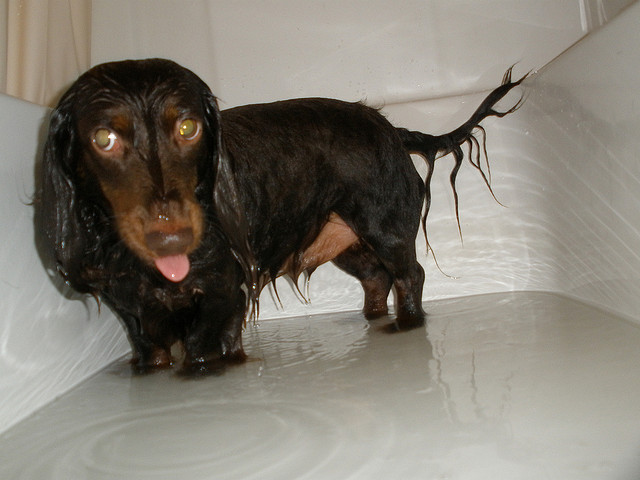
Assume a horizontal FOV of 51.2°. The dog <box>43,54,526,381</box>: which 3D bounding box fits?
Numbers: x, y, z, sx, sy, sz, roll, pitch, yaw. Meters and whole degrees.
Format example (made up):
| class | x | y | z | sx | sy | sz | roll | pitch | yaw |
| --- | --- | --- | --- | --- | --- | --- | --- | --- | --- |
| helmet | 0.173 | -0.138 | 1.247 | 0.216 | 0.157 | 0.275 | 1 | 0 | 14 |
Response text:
| class | x | y | z | sx | sy | sz | roll | pitch | yaw |
| --- | --- | --- | --- | --- | --- | --- | --- | --- | --- |
| dog | -0.006 | -0.165 | 2.411 | 0.666 | 0.873 | 1.829 | 1 | 9 | 43 |
